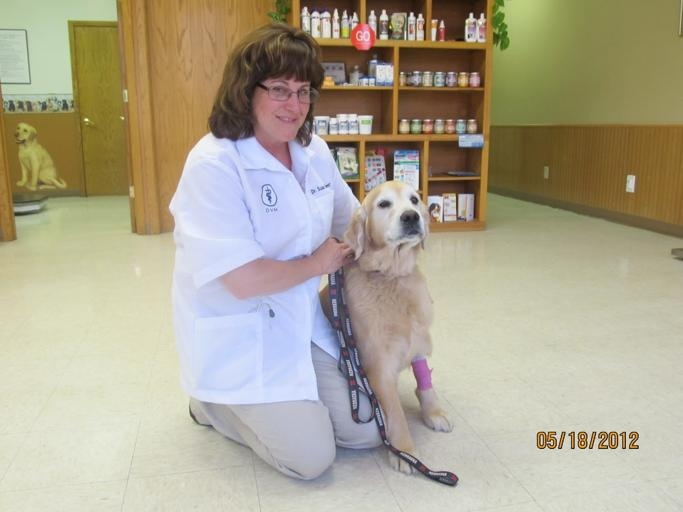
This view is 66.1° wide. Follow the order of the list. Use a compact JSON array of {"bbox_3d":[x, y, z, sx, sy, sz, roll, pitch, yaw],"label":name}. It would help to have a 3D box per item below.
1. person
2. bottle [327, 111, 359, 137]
[{"bbox_3d":[-0.272,-0.028,2.061,0.766,1.701,0.612,-6,14,-22],"label":"person"},{"bbox_3d":[0.021,-1.356,5.411,0.216,0.167,0.239,-2,9,-6],"label":"bottle"}]
